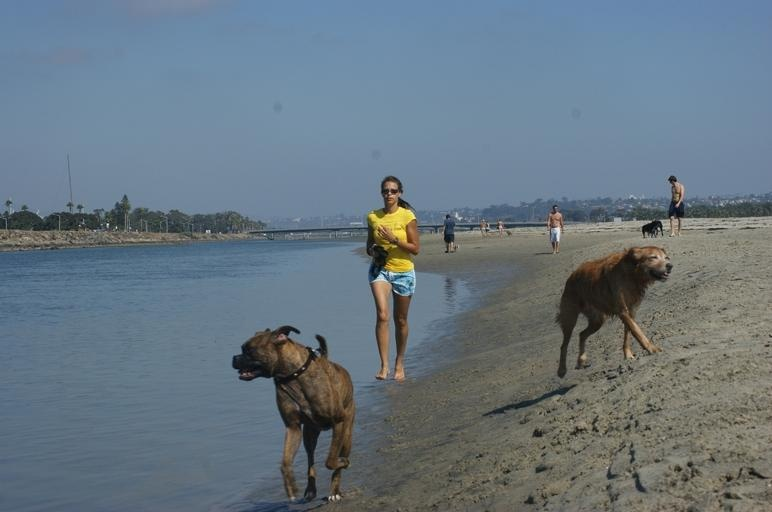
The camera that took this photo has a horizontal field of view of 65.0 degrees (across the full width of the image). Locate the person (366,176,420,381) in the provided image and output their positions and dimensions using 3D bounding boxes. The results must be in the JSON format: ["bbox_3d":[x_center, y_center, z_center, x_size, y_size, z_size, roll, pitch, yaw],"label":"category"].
[{"bbox_3d":[0.128,0.382,9.008,0.812,3.118,0.831,-5,10,2],"label":"person"}]

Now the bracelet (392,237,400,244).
[{"bbox_3d":[0.138,-0.214,8.635,0.095,0.066,0.093,-3,20,6],"label":"bracelet"}]

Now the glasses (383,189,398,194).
[{"bbox_3d":[0.072,-0.927,8.732,0.188,0.079,0.050,-5,10,0],"label":"glasses"}]
